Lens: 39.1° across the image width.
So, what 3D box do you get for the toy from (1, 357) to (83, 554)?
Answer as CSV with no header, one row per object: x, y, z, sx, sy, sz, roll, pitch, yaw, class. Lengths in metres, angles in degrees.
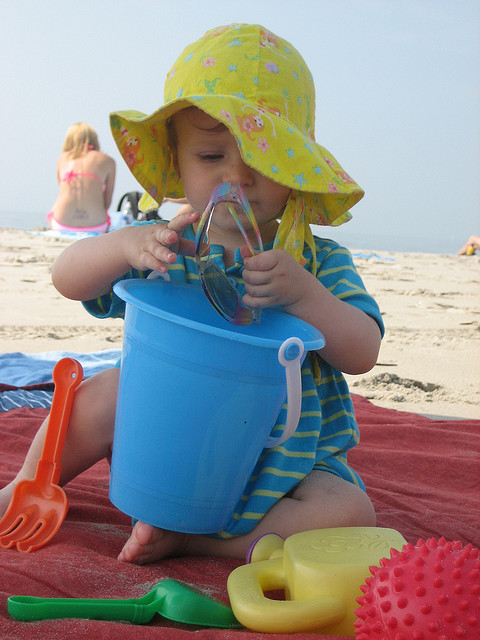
-0.371,0.245,1.258,0.124,0.315,0.247,5,6,-13,toy

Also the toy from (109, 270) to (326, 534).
-0.059,0.153,1.224,0.362,0.425,0.370,5,6,-11,toy

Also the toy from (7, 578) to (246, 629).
-0.148,0.398,0.920,0.311,0.053,0.098,2,6,-24,toy

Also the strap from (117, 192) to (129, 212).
-1.281,-1.280,7.363,0.047,0.194,0.442,4,5,-18,strap

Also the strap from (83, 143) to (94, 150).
-1.744,-1.992,7.734,0.080,0.041,0.100,16,42,-25,strap

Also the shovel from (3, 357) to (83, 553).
-0.350,0.258,1.308,0.115,0.353,0.075,8,-21,18,shovel

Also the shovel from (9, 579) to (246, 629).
-0.116,0.384,0.959,0.372,0.066,0.102,12,3,-28,shovel
